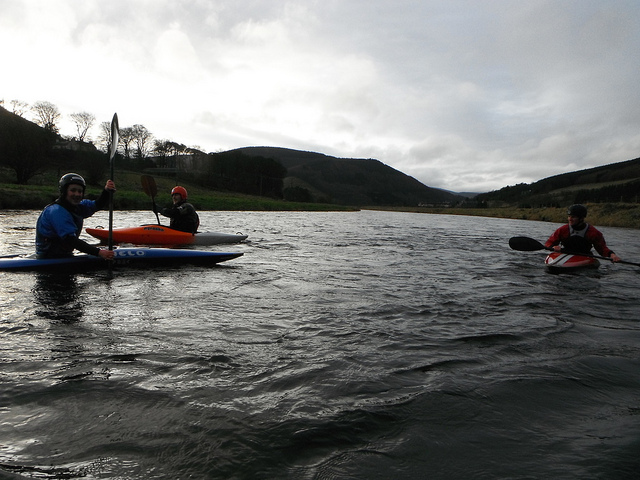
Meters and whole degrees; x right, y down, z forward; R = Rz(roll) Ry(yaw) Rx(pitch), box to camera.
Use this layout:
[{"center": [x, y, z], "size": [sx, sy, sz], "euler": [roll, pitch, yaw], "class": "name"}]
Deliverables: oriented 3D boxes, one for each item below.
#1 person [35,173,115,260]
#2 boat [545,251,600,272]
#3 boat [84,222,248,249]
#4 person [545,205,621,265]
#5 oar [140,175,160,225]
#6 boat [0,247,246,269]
[{"center": [-4.405, -0.389, 8.183], "size": [1.302, 1.549, 1.180], "euler": [-1, 8, -31], "class": "person"}, {"center": [6.319, 0.562, 11.248], "size": [1.389, 0.478, 0.481], "euler": [1, 7, -14], "class": "boat"}, {"center": [-4.697, -0.082, 13.418], "size": [4.718, 0.691, 1.059], "euler": [0, 2, -32], "class": "boat"}, {"center": [6.704, -0.172, 11.521], "size": [1.509, 0.714, 1.871], "euler": [12, 17, 22], "class": "person"}, {"center": [-5.350, -1.093, 14.564], "size": [0.464, 0.182, 2.878], "euler": [0, -28, -10], "class": "oar"}, {"center": [-4.059, 0.405, 9.187], "size": [4.243, 0.295, 0.585], "euler": [0, 4, -34], "class": "boat"}]
